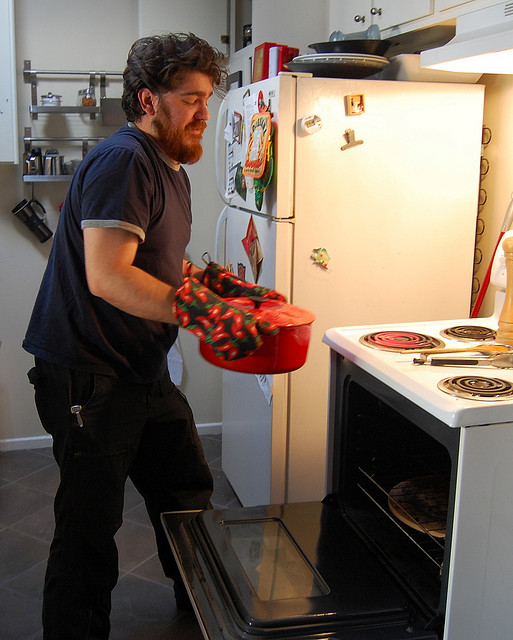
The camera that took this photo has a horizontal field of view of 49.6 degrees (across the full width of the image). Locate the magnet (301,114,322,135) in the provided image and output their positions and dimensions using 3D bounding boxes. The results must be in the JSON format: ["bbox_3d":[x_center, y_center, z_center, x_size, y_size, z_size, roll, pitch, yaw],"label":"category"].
[{"bbox_3d":[0.165,-0.580,1.636,0.066,0.055,0.028,-8,10,-37],"label":"magnet"}]

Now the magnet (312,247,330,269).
[{"bbox_3d":[0.209,-0.203,1.731,0.050,0.046,0.012,16,-1,-20],"label":"magnet"}]

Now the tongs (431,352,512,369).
[{"bbox_3d":[0.387,0.072,0.986,0.095,0.017,0.024,2,-2,-2],"label":"tongs"}]

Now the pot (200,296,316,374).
[{"bbox_3d":[0.006,0.017,0.995,0.204,0.120,0.193,2,13,0],"label":"pot"}]

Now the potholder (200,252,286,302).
[{"bbox_3d":[-0.035,-0.090,1.251,0.081,0.114,0.281,-3,2,-42],"label":"potholder"}]

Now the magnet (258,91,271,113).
[{"bbox_3d":[0.020,-0.686,1.751,0.052,0.079,0.063,-5,26,0],"label":"magnet"}]

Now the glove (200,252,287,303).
[{"bbox_3d":[-0.034,-0.087,1.244,0.248,0.104,0.072,3,9,44],"label":"glove"}]

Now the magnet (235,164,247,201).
[{"bbox_3d":[-0.055,-0.512,2.079,0.021,0.036,0.144,6,52,-26],"label":"magnet"}]

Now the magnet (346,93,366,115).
[{"bbox_3d":[0.296,-0.647,1.648,0.063,0.055,0.031,-3,6,-14],"label":"magnet"}]

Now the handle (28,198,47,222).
[{"bbox_3d":[-1.064,-0.549,2.727,0.095,0.026,0.099,48,-4,22],"label":"handle"}]

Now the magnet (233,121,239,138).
[{"bbox_3d":[-0.074,-0.737,2.136,0.019,0.049,0.038,7,7,-15],"label":"magnet"}]

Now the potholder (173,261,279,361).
[{"bbox_3d":[-0.047,-0.012,0.890,0.184,0.083,0.121,25,54,9],"label":"potholder"}]

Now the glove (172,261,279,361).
[{"bbox_3d":[-0.046,-0.021,0.893,0.202,0.085,0.139,19,46,20],"label":"glove"}]

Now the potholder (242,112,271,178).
[{"bbox_3d":[0.006,-0.558,1.757,0.051,0.196,0.146,6,3,-35],"label":"potholder"}]
